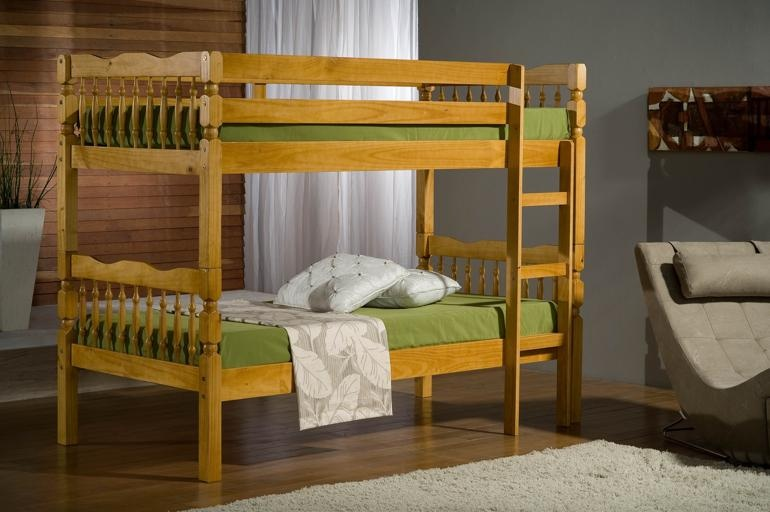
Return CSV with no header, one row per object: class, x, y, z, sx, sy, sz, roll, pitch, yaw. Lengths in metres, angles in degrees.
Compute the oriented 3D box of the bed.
bed,-0.348,-0.074,4.114,2.899,2.189,1.279,-2,5,-26
